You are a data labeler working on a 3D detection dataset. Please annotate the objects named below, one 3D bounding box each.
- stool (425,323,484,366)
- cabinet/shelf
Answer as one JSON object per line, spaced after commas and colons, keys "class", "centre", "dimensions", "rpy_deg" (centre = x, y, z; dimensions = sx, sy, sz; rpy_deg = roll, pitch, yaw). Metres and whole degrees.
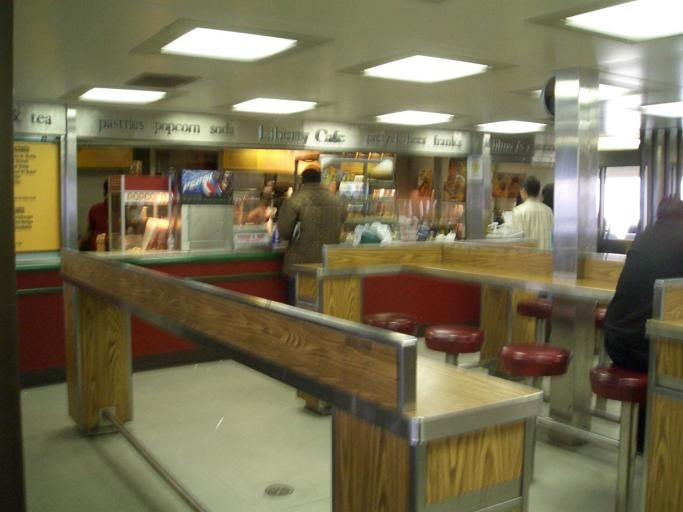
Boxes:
{"class": "stool", "centre": [0.825, 0.669, 4.045], "dimensions": [0.412, 0.364, 0.420], "rpy_deg": [0, 13, 5]}
{"class": "cabinet/shelf", "centre": [0.176, -0.905, 8.145], "dimensions": [1.184, 1.104, 0.701], "rpy_deg": [0, 1, -7]}
